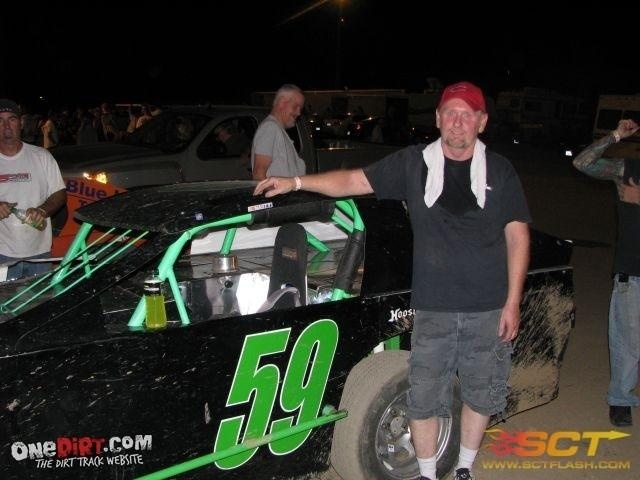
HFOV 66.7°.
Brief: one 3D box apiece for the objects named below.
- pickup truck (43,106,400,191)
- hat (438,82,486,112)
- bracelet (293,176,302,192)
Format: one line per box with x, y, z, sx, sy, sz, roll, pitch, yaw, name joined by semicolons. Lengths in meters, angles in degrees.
-2.019;-1.492;8.274;3.911;1.669;2.174;-3;12;-22;pickup truck
0.836;-0.844;2.859;0.250;0.182;0.340;2;13;13;hat
-0.121;-0.326;2.869;0.042;0.069;0.069;4;49;-3;bracelet
